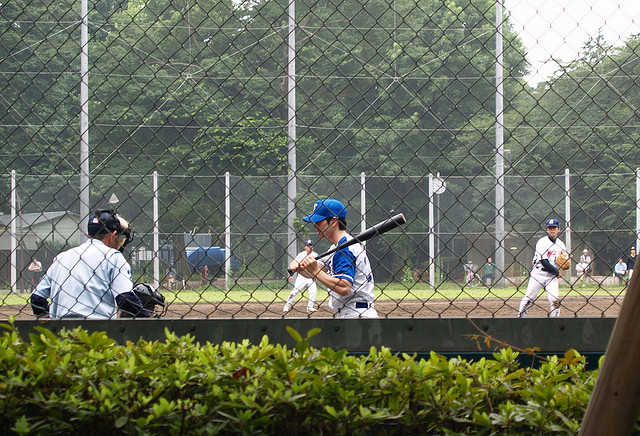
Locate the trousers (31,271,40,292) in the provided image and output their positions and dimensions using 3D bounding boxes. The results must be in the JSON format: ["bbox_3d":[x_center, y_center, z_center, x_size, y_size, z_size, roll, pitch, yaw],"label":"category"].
[{"bbox_3d":[-13.809,2.885,59.339,0.343,0.607,1.108,3,-4,-13],"label":"trousers"}]

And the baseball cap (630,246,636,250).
[{"bbox_3d":[15.102,1.442,58.680,0.238,0.109,0.336,0,-6,6],"label":"baseball cap"}]

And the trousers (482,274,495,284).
[{"bbox_3d":[8.158,2.918,58.744,0.656,0.554,1.111,-2,-8,8],"label":"trousers"}]

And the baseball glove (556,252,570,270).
[{"bbox_3d":[9.511,1.681,47.538,0.610,0.316,0.422,35,-46,-14],"label":"baseball glove"}]

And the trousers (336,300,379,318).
[{"bbox_3d":[1.349,3.205,42.316,0.863,0.481,0.823,4,-8,-33],"label":"trousers"}]
